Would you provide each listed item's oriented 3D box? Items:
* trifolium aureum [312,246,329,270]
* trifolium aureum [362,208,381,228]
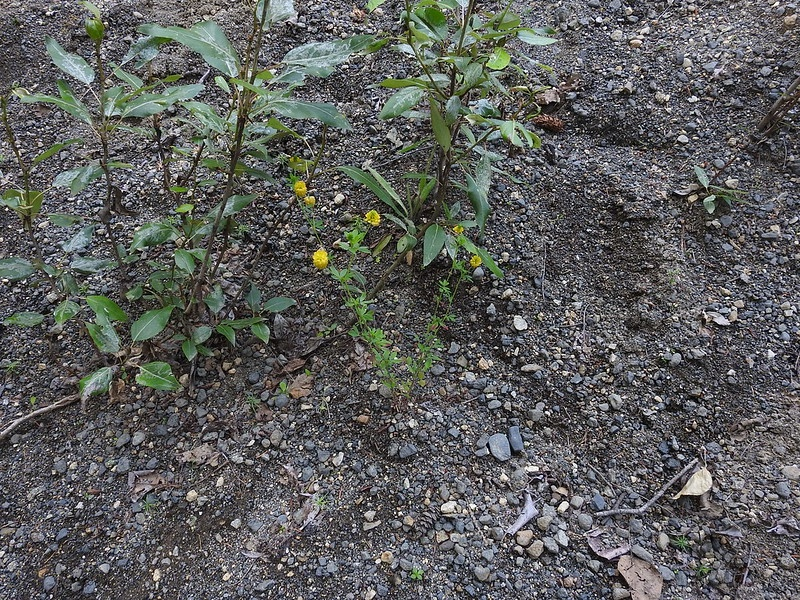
[{"bbox_3d":[-0.388,-0.199,2.702,0.105,0.045,0.100,-6,88,3],"label":"trifolium aureum"},{"bbox_3d":[-0.138,-0.433,2.843,0.115,0.058,0.109,-7,82,-5],"label":"trifolium aureum"}]
